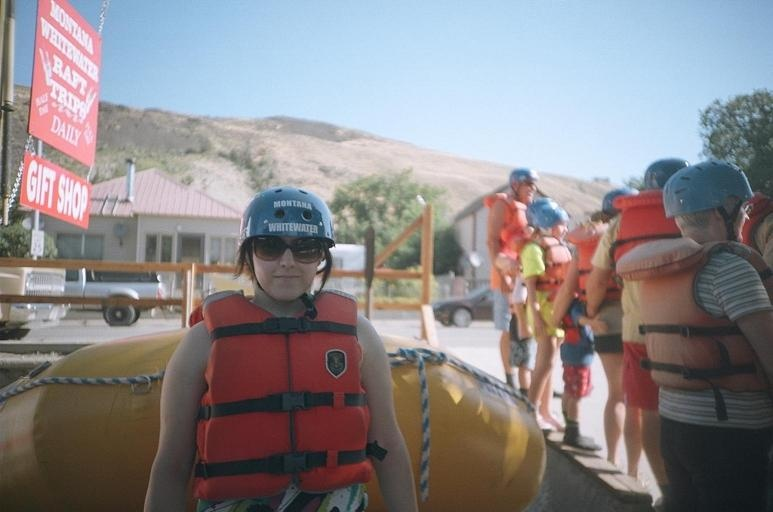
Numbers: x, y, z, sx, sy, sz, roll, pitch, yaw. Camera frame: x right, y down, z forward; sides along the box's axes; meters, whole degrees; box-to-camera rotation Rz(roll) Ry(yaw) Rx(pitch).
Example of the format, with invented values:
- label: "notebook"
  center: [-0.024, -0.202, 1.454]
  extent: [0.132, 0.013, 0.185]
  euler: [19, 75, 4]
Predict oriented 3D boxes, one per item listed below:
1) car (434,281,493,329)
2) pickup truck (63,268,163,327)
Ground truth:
- label: "car"
  center: [1.905, 1.348, 19.239]
  extent: [1.693, 0.720, 0.812]
  euler: [2, -7, -21]
- label: "pickup truck"
  center: [-5.376, 0.650, 14.897]
  extent: [2.414, 1.262, 1.570]
  euler: [-1, 0, -8]
